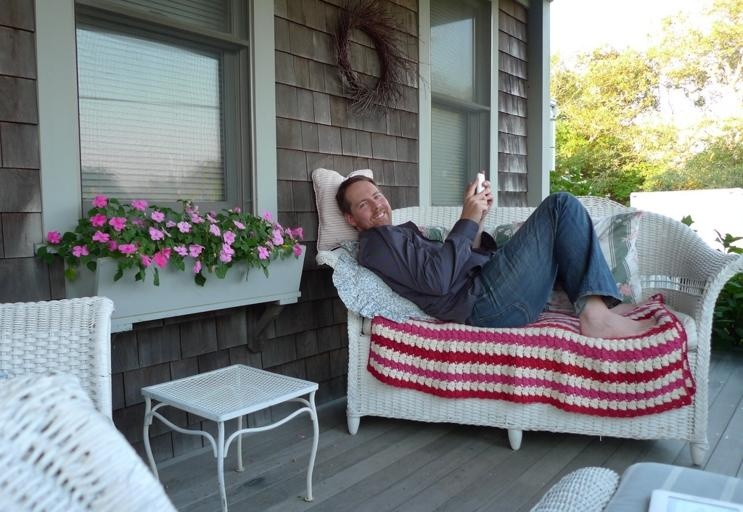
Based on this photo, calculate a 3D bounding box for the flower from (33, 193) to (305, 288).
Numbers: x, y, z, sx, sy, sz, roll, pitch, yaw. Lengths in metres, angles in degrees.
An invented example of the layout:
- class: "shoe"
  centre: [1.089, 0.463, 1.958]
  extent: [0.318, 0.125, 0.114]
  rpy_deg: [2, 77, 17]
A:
- class: "flower"
  centre: [-0.917, -0.078, 2.669]
  extent: [1.157, 0.444, 0.408]
  rpy_deg: [-9, 12, -40]

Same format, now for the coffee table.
- class: "coffee table"
  centre: [-0.598, 0.562, 2.387]
  extent: [0.620, 0.550, 0.618]
  rpy_deg: [10, 13, 40]
